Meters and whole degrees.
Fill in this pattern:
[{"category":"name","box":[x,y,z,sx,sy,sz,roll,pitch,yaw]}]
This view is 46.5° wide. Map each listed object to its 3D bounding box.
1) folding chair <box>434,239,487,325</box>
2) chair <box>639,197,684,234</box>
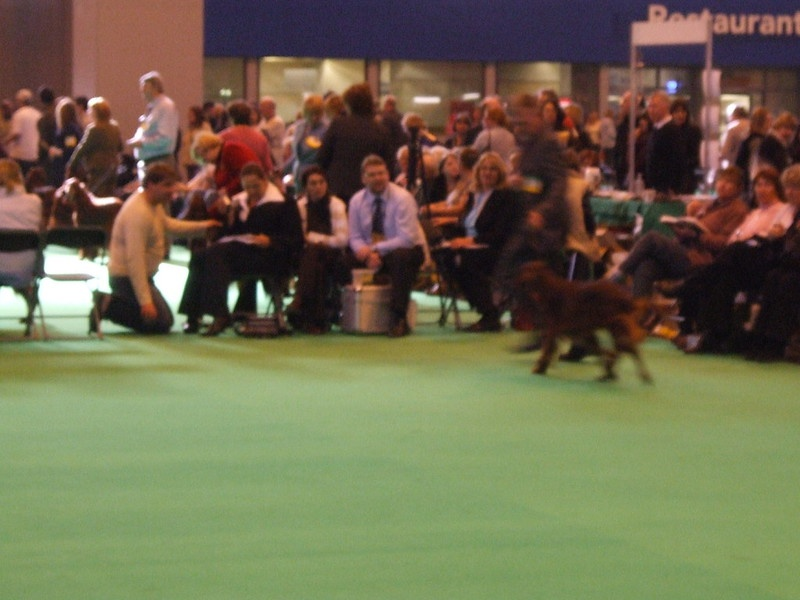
[{"category":"folding chair","box":[0.529,-0.160,8.670,0.424,0.775,0.187,-3,1,42]},{"category":"chair","box":[2.410,-0.762,8.600,0.293,0.267,0.323,0,4,9]}]
